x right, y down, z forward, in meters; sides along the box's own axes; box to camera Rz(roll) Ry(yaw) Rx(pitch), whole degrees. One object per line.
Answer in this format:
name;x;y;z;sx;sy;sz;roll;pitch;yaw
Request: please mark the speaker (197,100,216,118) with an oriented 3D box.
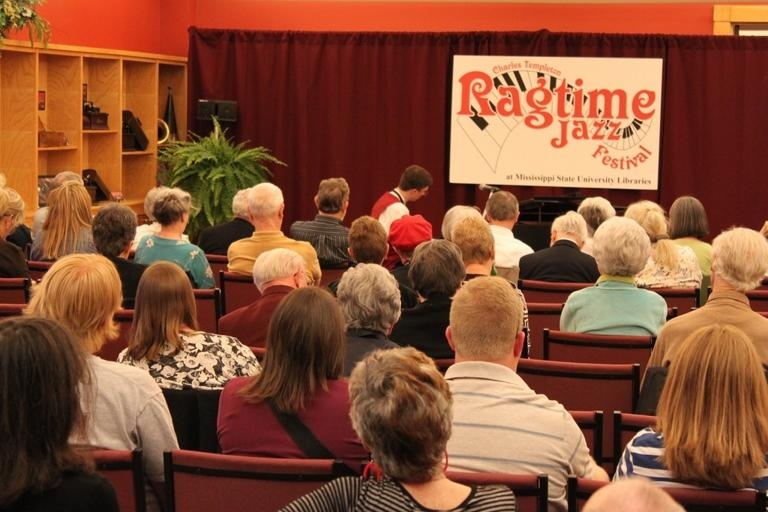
speaker;-2.090;-1.727;10.460;0.196;0.204;0.199;1;0;-10
